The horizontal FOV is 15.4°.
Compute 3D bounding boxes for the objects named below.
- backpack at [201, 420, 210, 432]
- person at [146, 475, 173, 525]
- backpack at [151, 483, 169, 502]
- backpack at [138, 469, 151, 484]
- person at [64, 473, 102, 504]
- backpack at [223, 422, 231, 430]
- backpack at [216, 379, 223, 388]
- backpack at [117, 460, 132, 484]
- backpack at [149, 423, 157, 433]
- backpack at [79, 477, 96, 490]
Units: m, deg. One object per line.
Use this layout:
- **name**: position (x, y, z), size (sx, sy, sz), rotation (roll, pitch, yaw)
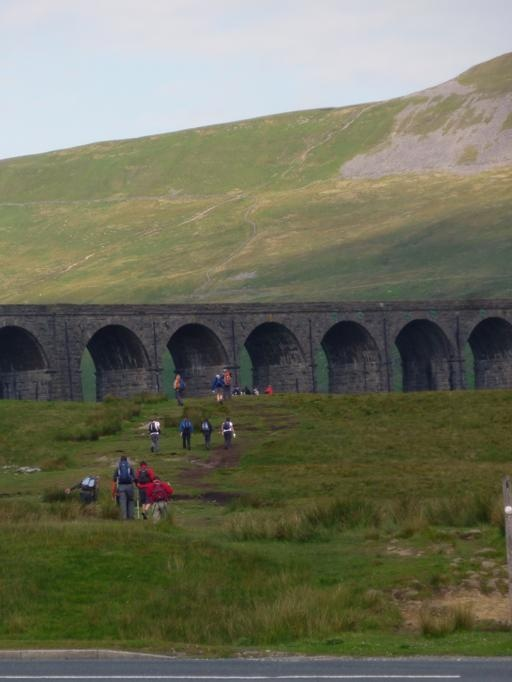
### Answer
- **backpack**: position (-1.642, 2.639, 60.338), size (0.247, 0.407, 0.376), rotation (4, -26, -1)
- **person**: position (-2.519, 4.224, 48.939), size (0.547, 1.452, 0.534), rotation (-1, -20, -11)
- **backpack**: position (-2.569, 3.979, 48.929), size (0.461, 0.711, 0.399), rotation (2, -20, -15)
- **backpack**: position (-2.955, 3.541, 49.562), size (0.271, 0.467, 0.430), rotation (3, -12, -1)
- **person**: position (-4.320, 3.952, 49.905), size (0.690, 0.393, 1.011), rotation (9, 17, 22)
- **backpack**: position (-0.984, 2.695, 60.509), size (0.281, 0.414, 0.207), rotation (0, 1, -8)
- **backpack**: position (-1.392, 1.528, 69.067), size (0.173, 0.311, 0.282), rotation (3, 9, 8)
- **backpack**: position (-3.431, 3.446, 49.043), size (0.348, 0.595, 0.535), rotation (0, -19, 2)
- **backpack**: position (-3.219, 2.710, 59.014), size (0.239, 0.418, 0.432), rotation (-3, -3, -17)
- **backpack**: position (-4.409, 3.726, 49.560), size (0.352, 0.534, 0.270), rotation (4, -38, -3)
